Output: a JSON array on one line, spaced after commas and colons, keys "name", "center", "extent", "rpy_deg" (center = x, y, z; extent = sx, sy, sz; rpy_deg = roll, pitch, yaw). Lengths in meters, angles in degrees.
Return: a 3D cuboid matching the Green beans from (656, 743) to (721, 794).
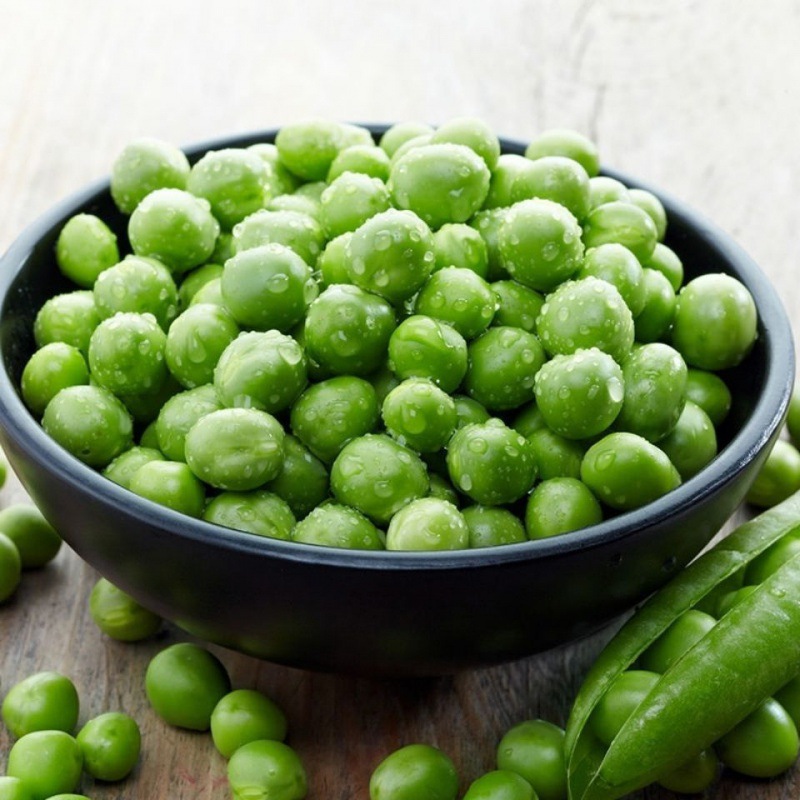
[{"name": "Green beans", "center": [0.199, 0.258, 0.653], "extent": [0.038, 0.032, 0.026], "rpy_deg": [-12, 75, 9]}]
